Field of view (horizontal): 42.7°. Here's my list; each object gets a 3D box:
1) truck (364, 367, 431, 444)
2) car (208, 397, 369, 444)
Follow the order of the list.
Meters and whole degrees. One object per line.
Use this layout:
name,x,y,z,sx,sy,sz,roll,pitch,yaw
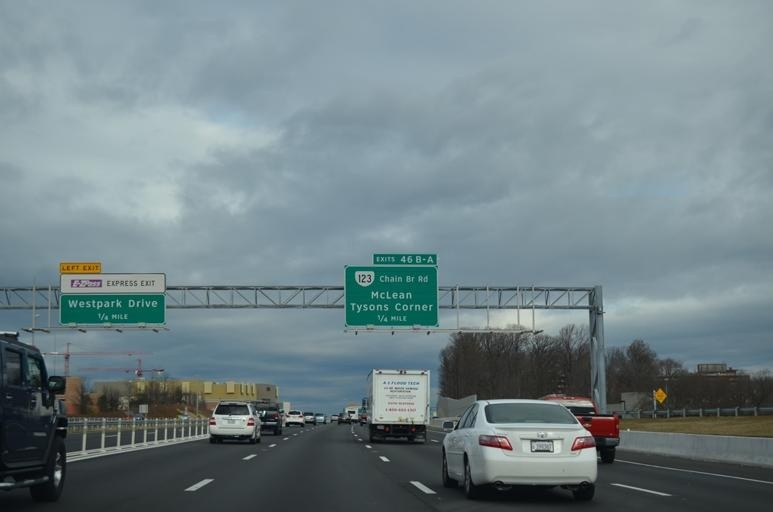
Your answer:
truck,0.529,8.664,56.185,3.258,3.961,6.748,2,-9,-6
car,-7.513,8.426,50.503,2.993,3.364,7.418,0,-7,-2
